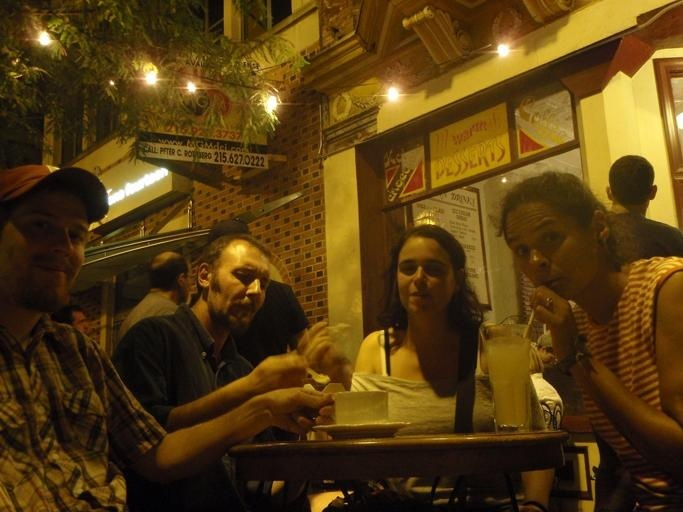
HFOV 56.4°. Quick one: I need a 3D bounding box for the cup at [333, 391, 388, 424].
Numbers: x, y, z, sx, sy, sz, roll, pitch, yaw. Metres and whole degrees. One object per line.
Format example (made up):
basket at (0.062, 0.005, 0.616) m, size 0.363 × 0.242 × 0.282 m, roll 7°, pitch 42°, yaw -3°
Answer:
cup at (0.080, 0.579, 2.438) m, size 0.142 × 0.094 × 0.145 m, roll 0°, pitch -10°, yaw 0°
